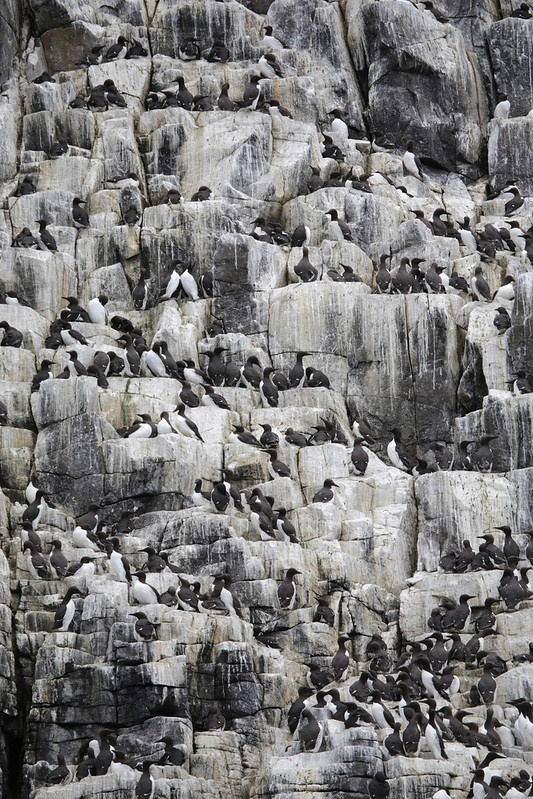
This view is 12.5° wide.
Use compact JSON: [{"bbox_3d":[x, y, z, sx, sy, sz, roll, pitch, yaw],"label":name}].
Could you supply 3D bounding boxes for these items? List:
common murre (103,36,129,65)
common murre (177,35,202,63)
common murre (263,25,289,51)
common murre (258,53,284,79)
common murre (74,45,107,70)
[{"bbox_3d":[-3.020,-6.676,46.461,0.506,0.480,0.521,-1,-9,-5],"label":"common murre"},{"bbox_3d":[-1.610,-6.863,47.638,0.353,0.647,0.428,0,9,29],"label":"common murre"},{"bbox_3d":[0.148,-7.102,47.840,0.576,0.706,0.376,5,1,9],"label":"common murre"},{"bbox_3d":[-0.015,-6.296,46.096,0.388,0.582,0.367,6,2,6],"label":"common murre"},{"bbox_3d":[-3.519,-6.474,46.198,0.498,0.488,0.362,-11,11,4],"label":"common murre"}]
